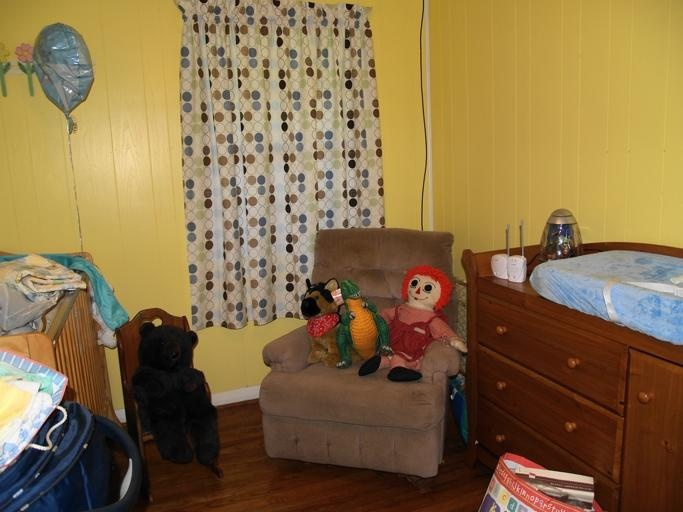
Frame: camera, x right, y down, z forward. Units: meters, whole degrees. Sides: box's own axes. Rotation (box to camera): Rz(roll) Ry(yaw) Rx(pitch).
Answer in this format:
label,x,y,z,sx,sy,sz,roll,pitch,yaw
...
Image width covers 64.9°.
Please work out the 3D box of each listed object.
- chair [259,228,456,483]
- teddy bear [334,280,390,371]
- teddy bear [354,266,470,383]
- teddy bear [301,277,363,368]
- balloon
label,x,y,z,sx,sy,sz,roll,pitch,yaw
chair,0.064,0.367,3.153,1.088,1.317,1.205,2,10,14
teddy bear,0.100,0.391,2.882,0.254,0.405,0.218,-22,-24,-1
teddy bear,0.371,0.344,2.909,0.628,0.600,0.605,5,1,36
teddy bear,-0.131,0.379,2.985,0.280,0.563,0.433,-13,-23,27
balloon,-1.430,-0.938,2.770,0.287,0.442,0.134,1,16,-4
